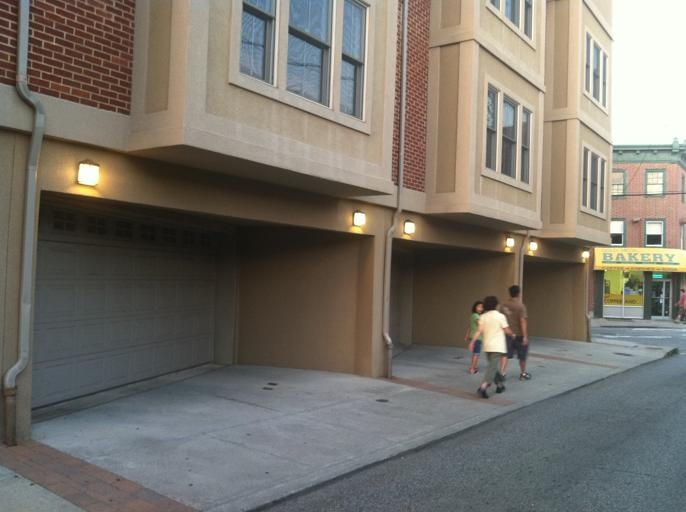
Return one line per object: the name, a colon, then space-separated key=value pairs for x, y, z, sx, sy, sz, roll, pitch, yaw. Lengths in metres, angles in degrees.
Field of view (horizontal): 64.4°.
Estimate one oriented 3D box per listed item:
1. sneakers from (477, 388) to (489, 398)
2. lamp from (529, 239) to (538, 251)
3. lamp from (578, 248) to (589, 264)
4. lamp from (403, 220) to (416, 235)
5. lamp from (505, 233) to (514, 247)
sneakers: x=2.735 y=2.645 z=10.595 sx=0.119 sy=0.153 sz=0.340 roll=6 pitch=-6 yaw=38
lamp: x=6.144 y=-0.365 z=17.611 sx=0.315 sy=0.334 sz=0.340 roll=1 pitch=3 yaw=8
lamp: x=9.403 y=-0.010 z=21.440 sx=0.418 sy=0.677 sz=0.401 roll=0 pitch=5 yaw=-26
lamp: x=1.563 y=-0.686 z=12.804 sx=0.166 sy=0.317 sz=0.369 roll=2 pitch=-1 yaw=35
lamp: x=4.991 y=-0.544 z=16.547 sx=0.251 sy=0.476 sz=0.477 roll=2 pitch=3 yaw=39
